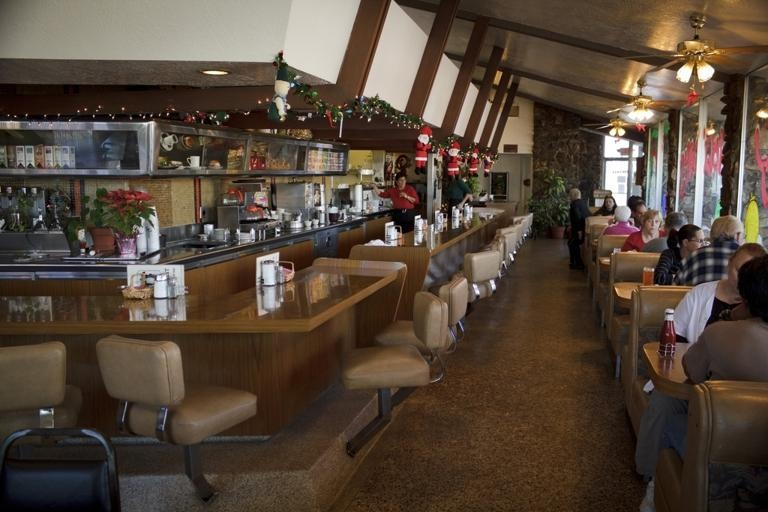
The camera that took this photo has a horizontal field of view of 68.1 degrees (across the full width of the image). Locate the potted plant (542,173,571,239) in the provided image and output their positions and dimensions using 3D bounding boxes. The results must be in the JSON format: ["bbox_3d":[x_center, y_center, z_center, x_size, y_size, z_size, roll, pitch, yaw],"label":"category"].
[{"bbox_3d":[5.661,-1.697,18.662,0.916,1.921,1.545,7,14,14],"label":"potted plant"}]

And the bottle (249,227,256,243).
[{"bbox_3d":[-1.881,-0.301,8.123,0.065,0.204,0.213,4,-6,-12],"label":"bottle"}]

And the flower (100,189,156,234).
[{"bbox_3d":[-2.827,-0.505,6.461,0.546,0.513,0.548,8,10,29],"label":"flower"}]

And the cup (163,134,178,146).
[{"bbox_3d":[-2.708,-1.486,7.198,0.143,0.133,0.219,21,-11,-38],"label":"cup"}]

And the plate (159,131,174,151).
[{"bbox_3d":[-2.728,-1.439,7.172,0.186,0.172,0.179,0,13,7],"label":"plate"}]

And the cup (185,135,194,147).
[{"bbox_3d":[-2.592,-1.545,7.589,0.116,0.103,0.112,4,7,0],"label":"cup"}]

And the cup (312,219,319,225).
[{"bbox_3d":[-1.225,-0.614,10.173,0.107,0.097,0.127,1,-4,-28],"label":"cup"}]

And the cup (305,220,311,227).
[{"bbox_3d":[-1.317,-0.571,9.901,0.106,0.066,0.102,1,-2,0],"label":"cup"}]

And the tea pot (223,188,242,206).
[{"bbox_3d":[-2.449,-0.963,9.200,0.373,0.295,0.230,3,2,6],"label":"tea pot"}]

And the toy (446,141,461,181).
[{"bbox_3d":[1.317,-1.895,10.892,0.239,0.648,0.632,5,14,4],"label":"toy"}]

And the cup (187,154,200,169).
[{"bbox_3d":[-2.593,-1.296,7.758,0.121,0.156,0.176,-1,0,-7],"label":"cup"}]

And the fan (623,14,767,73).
[{"bbox_3d":[3.254,-2.163,6.030,1.136,0.359,1.078,-4,6,-25],"label":"fan"}]

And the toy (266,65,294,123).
[{"bbox_3d":[-1.062,-1.677,5.769,0.281,0.735,0.341,3,35,-15],"label":"toy"}]
